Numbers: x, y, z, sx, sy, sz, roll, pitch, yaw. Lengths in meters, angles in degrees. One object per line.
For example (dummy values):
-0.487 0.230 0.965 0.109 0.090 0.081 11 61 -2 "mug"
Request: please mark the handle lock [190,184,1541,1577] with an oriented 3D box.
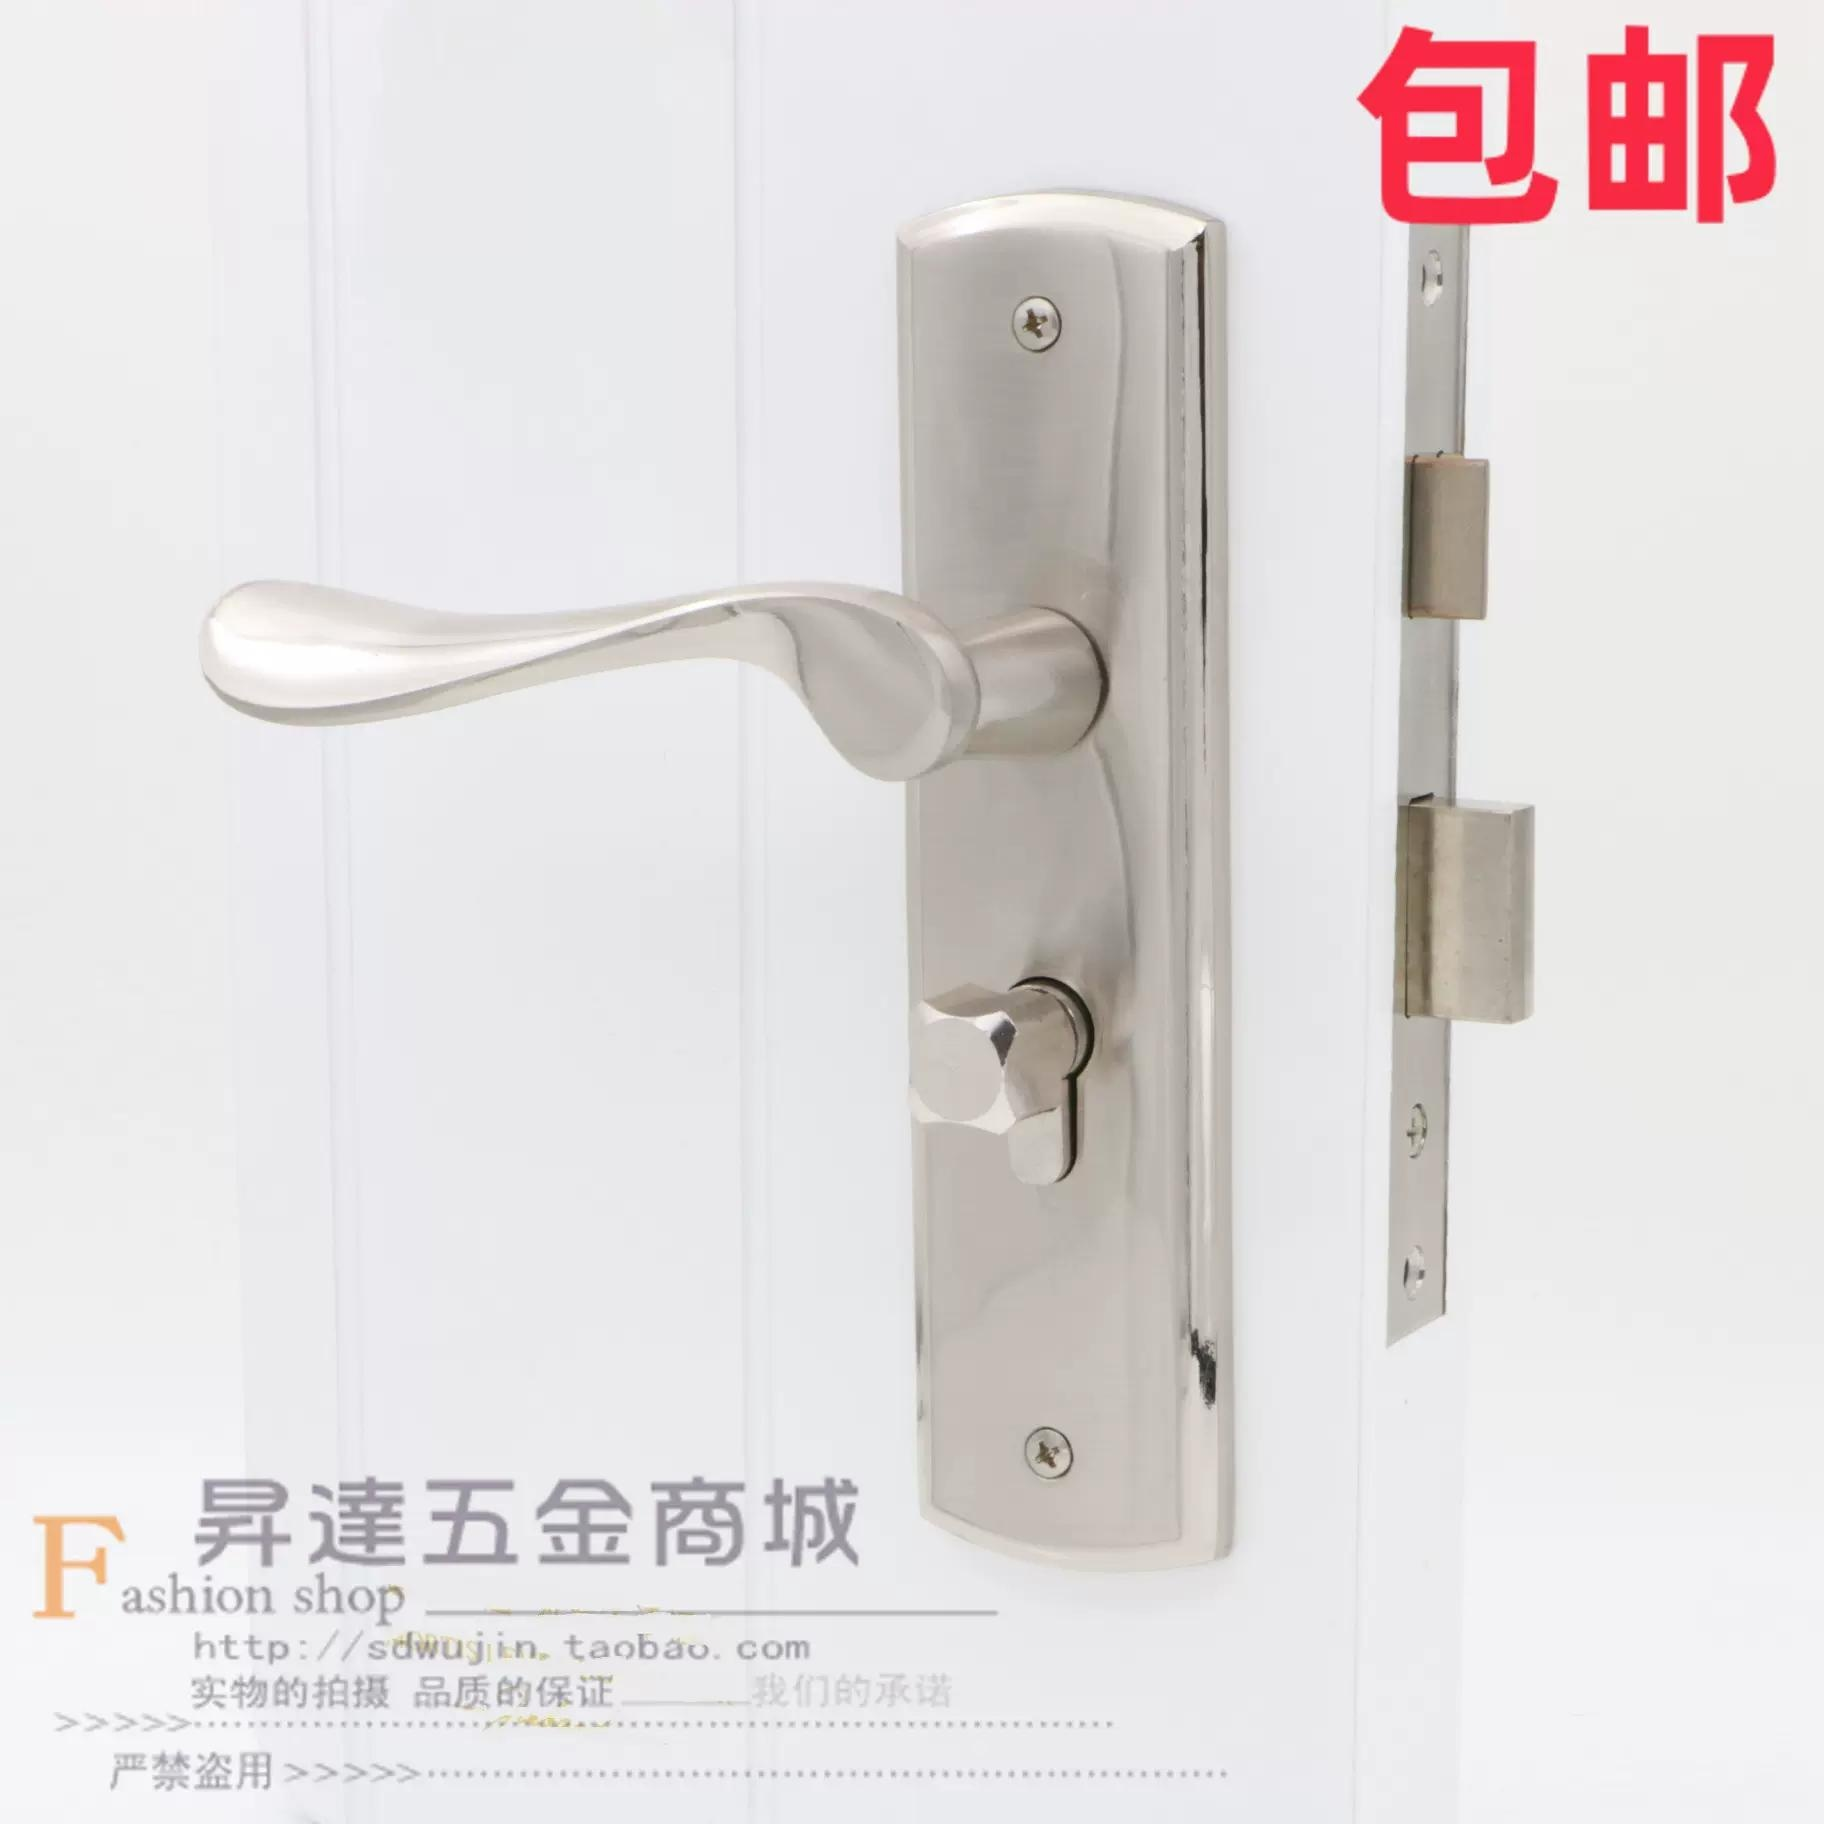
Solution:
-0.033 -0.027 0.524 0.198 0.318 0.240 4 10 29 "handle lock"
